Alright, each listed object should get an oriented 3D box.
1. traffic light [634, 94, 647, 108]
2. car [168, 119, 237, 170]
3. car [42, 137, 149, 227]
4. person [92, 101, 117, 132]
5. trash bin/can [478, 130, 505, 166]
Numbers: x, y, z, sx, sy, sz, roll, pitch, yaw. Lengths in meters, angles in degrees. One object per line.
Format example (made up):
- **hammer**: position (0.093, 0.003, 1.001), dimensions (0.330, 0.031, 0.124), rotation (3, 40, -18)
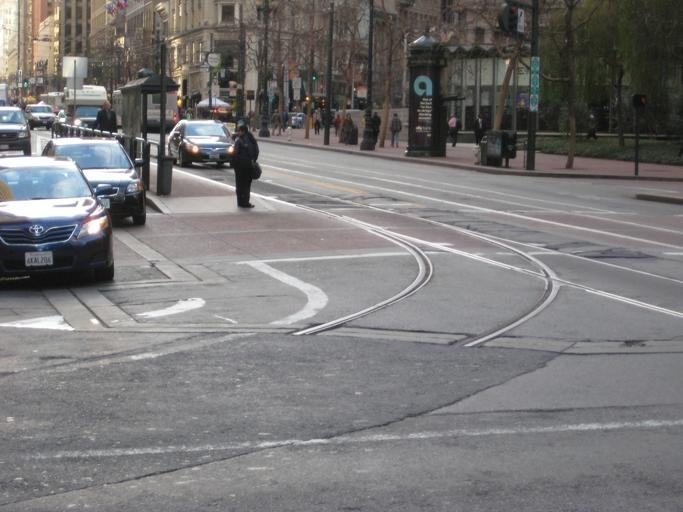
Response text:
- **traffic light**: position (8.627, -4.526, 35.732), dimensions (0.348, 0.361, 0.489), rotation (2, 11, 9)
- **car**: position (-4.267, -3.394, 36.728), dimensions (1.249, 0.890, 2.728), rotation (-2, 4, -17)
- **car**: position (-4.537, -1.548, 23.418), dimensions (1.244, 0.996, 2.717), rotation (-2, 9, -19)
- **person**: position (-6.515, -3.837, 33.934), dimensions (0.556, 0.877, 1.652), rotation (-1, 11, -11)
- **trash bin/can**: position (4.875, -3.489, 39.468), dimensions (0.553, 1.212, 1.354), rotation (-4, 12, -23)
